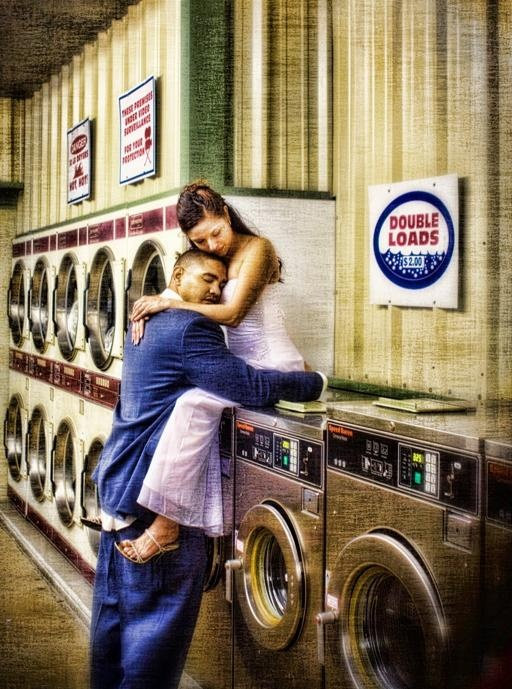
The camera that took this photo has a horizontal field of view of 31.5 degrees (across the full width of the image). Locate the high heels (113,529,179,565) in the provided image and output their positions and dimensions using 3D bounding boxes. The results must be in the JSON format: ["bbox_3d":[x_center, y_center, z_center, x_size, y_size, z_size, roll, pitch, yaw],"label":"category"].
[{"bbox_3d":[-0.267,0.489,2.179,0.114,0.079,0.052,-10,0,4],"label":"high heels"}]
